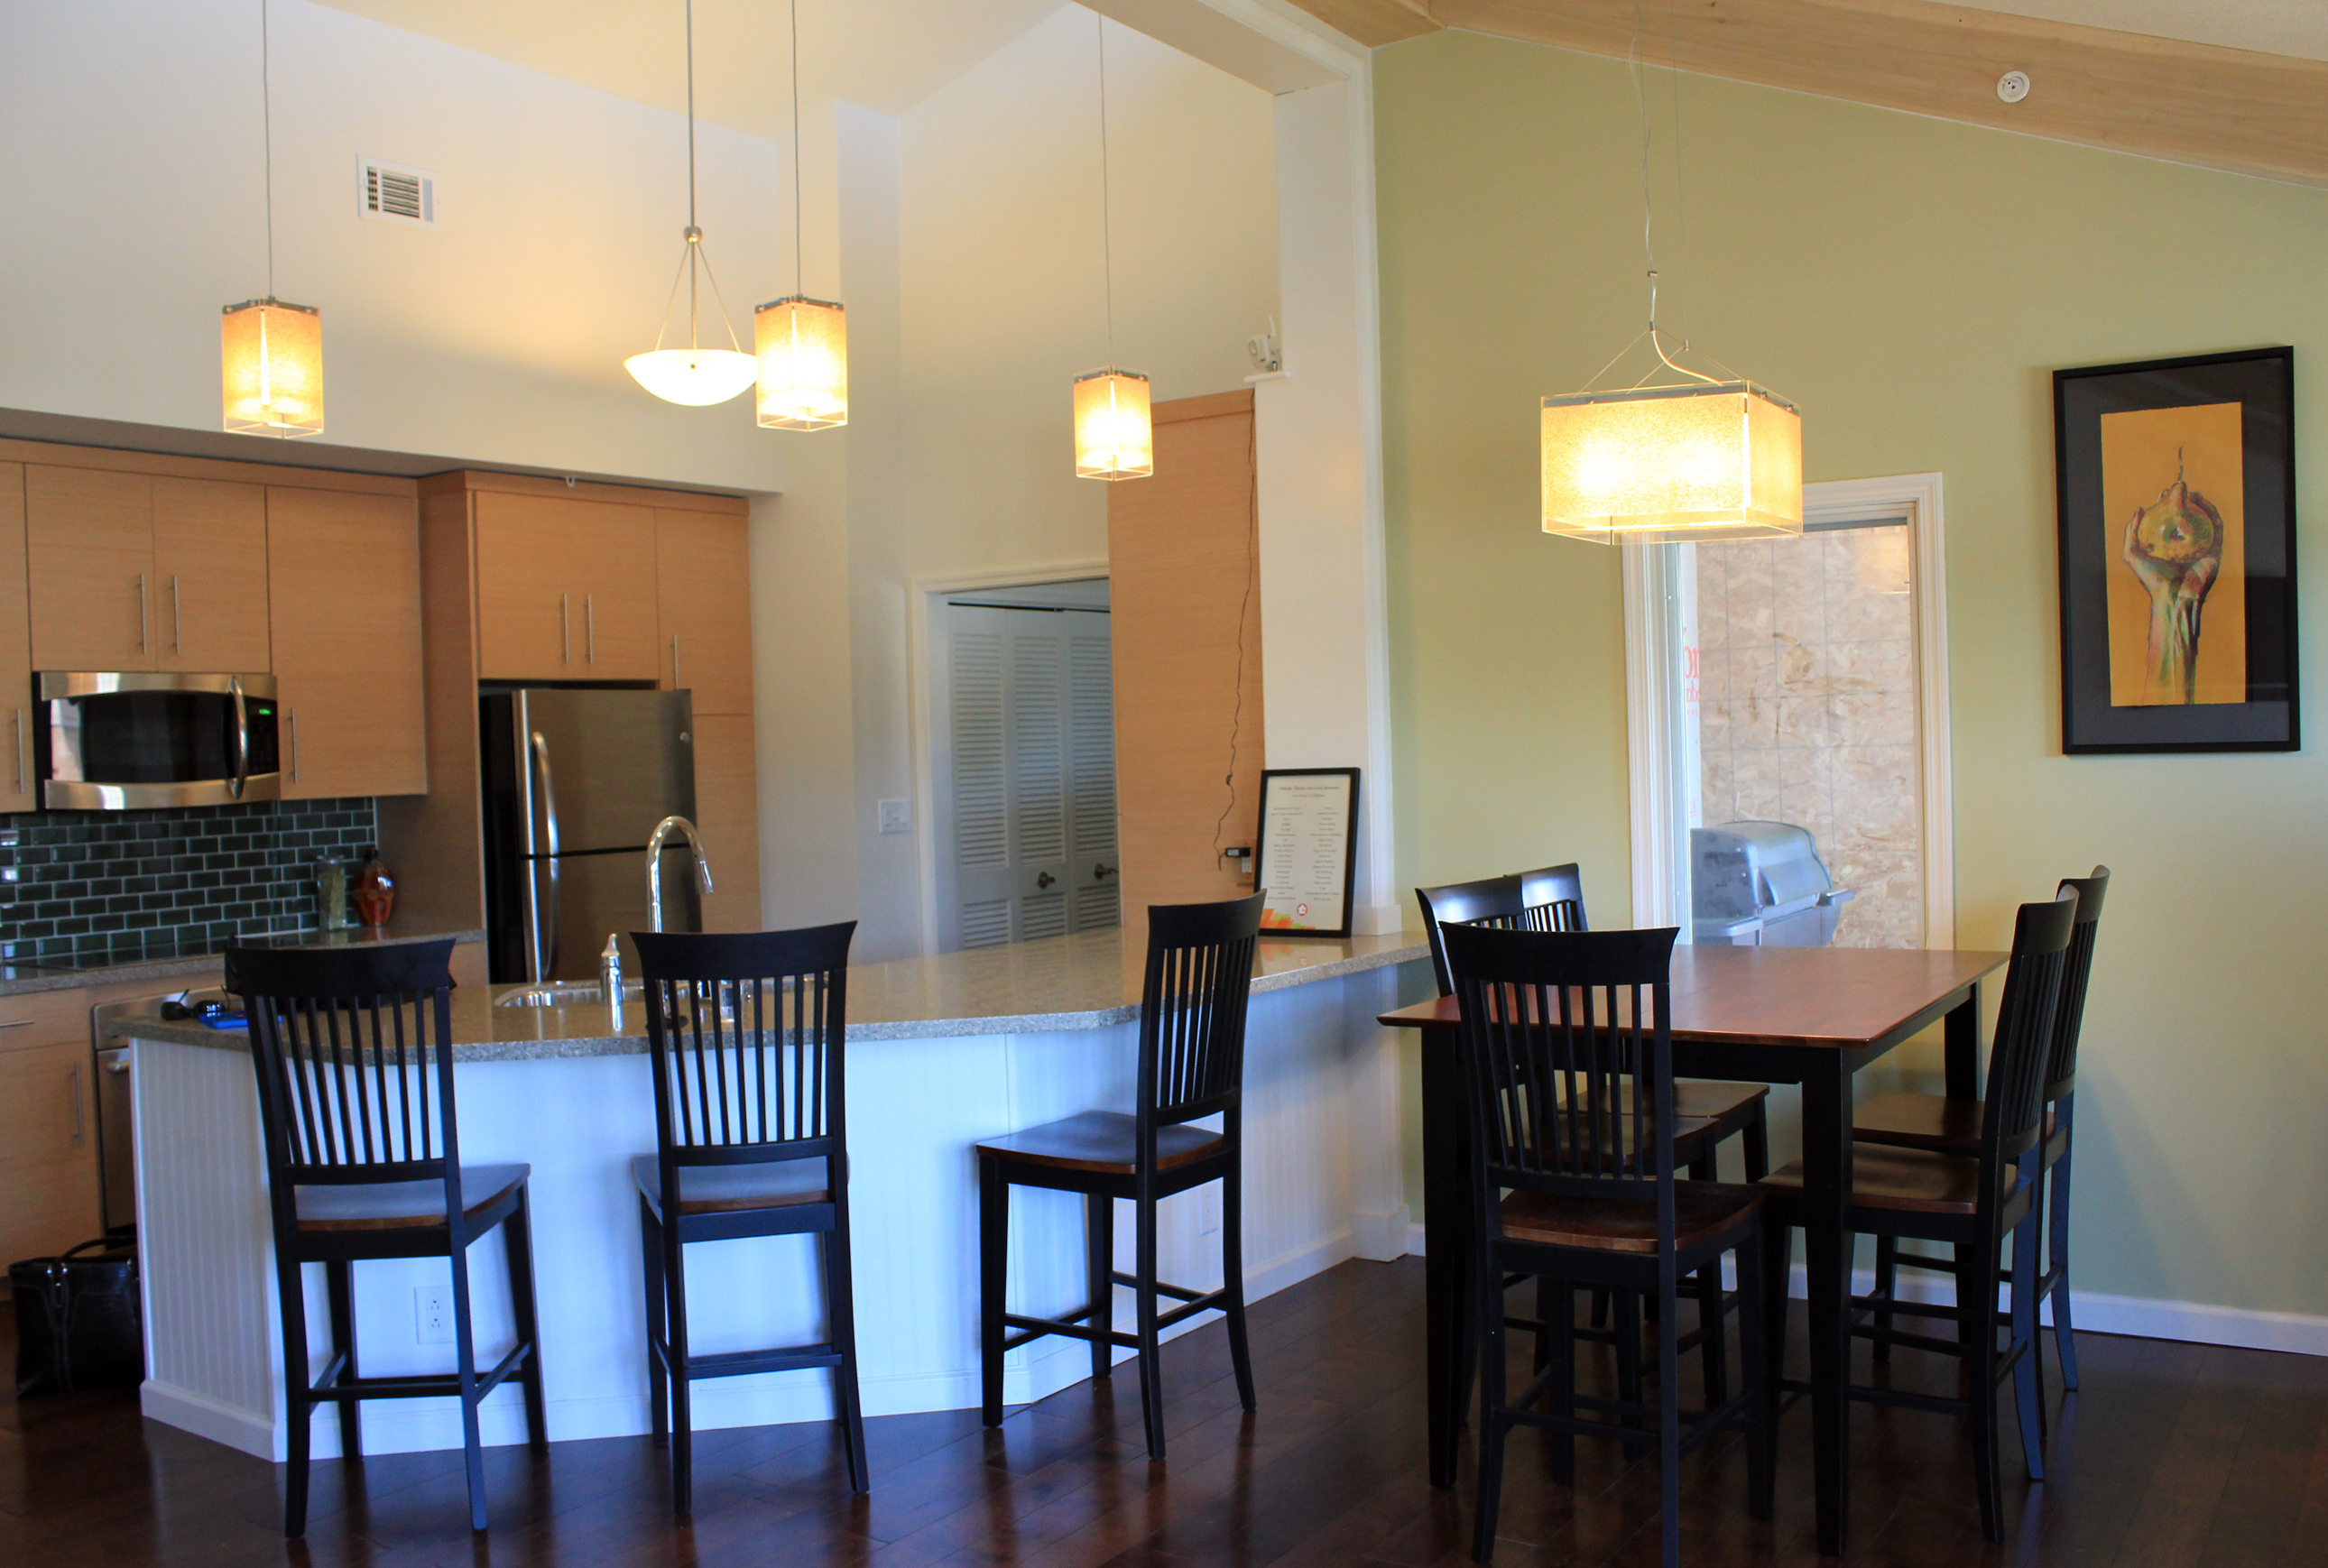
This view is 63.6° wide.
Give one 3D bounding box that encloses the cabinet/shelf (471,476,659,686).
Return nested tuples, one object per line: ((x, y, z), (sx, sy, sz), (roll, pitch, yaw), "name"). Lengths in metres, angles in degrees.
((-2.558, -0.816, 7.804), (0.323, 0.861, 0.908), (0, 4, 36), "cabinet/shelf")

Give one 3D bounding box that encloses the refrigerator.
((-2.354, 0.261, 7.895), (0.769, 1.298, 0.620), (-8, 18, -35), "refrigerator")

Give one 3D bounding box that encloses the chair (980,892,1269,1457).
((-0.113, 1.079, 5.491), (0.726, 1.506, 0.707), (1, 1, 23), "chair")

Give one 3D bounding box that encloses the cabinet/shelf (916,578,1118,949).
((-0.629, -0.088, 8.627), (0.318, 1.736, 1.259), (10, 18, 39), "cabinet/shelf")

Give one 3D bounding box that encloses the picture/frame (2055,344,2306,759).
((3.025, -0.693, 5.627), (0.707, 1.185, 0.269), (4, 15, 22), "picture/frame")

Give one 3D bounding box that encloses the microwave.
((-3.743, -0.152, 7.031), (0.813, 0.501, 0.472), (-1, -3, -26), "microwave")

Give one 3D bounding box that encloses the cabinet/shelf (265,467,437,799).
((-3.190, -0.589, 7.367), (0.672, 1.216, 0.266), (-12, 17, -36), "cabinet/shelf")

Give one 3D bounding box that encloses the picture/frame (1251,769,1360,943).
((0.494, 0.234, 6.620), (0.384, 0.602, 0.234), (1, 14, 11), "picture/frame")

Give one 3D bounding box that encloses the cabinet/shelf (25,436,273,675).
((-3.729, -0.844, 6.801), (0.848, 0.778, 0.320), (-1, 5, -42), "cabinet/shelf")

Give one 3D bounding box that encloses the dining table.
((1.521, 0.938, 5.376), (1.408, 1.368, 1.832), (-1, 0, 24), "dining table")
